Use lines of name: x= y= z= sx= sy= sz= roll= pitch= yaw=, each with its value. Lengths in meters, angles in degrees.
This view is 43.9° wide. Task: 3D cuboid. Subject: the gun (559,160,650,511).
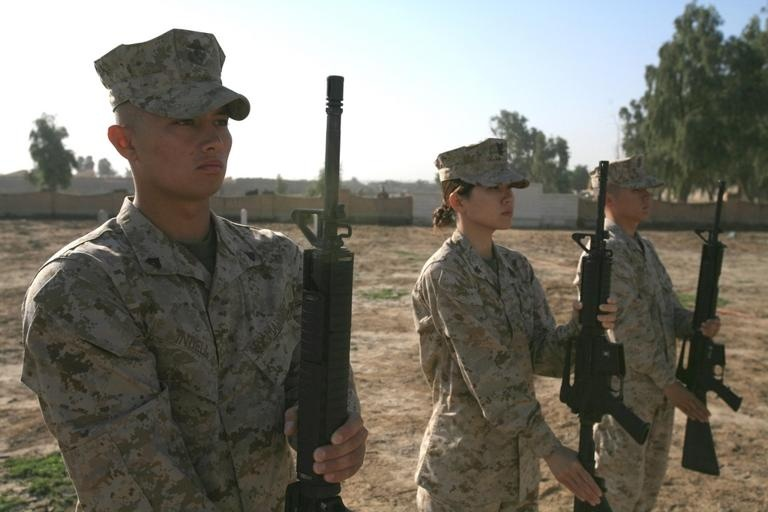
gun: x=2.431 y=0.914 z=10.762 sx=0.881 sy=3.889 sz=0.777 roll=0 pitch=8 yaw=12
